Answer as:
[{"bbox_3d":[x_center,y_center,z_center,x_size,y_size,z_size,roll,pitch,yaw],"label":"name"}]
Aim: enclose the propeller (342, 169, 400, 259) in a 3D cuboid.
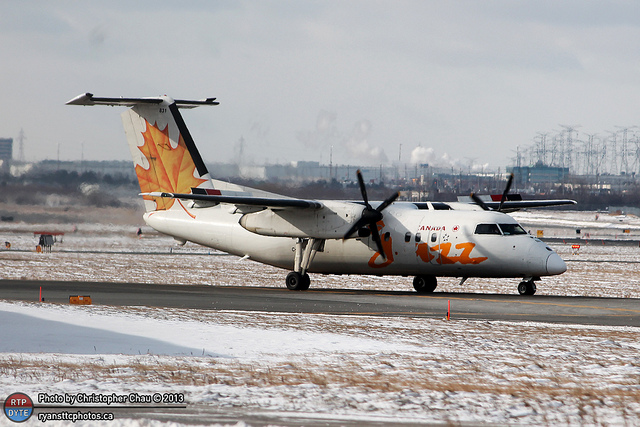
[{"bbox_3d":[2.090,-0.013,45.673,2.111,3.832,1.198,-2,15,-11],"label":"propeller"}]
